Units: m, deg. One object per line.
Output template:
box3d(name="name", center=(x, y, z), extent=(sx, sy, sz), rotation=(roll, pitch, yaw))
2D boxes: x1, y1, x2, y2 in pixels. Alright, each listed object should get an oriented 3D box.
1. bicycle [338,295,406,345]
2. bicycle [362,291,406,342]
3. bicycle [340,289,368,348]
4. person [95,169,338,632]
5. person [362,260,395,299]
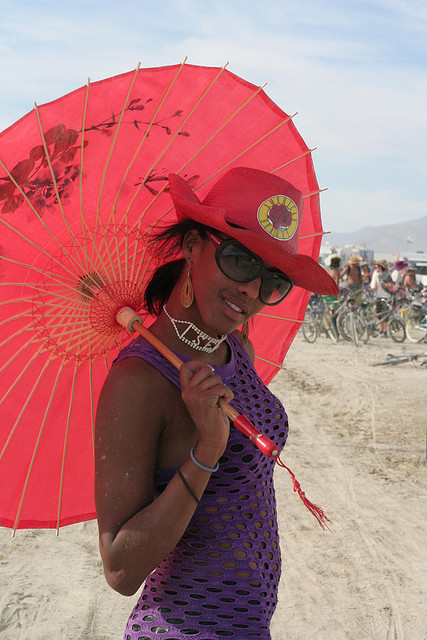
box3d(name="bicycle", center=(2.698, 0.066, 11.929), extent=(1.410, 0.742, 0.655), rotation=(-9, -3, 20))
box3d(name="bicycle", center=(3.185, 0.054, 11.981), extent=(0.602, 0.677, 1.181), rotation=(-10, 8, -39))
box3d(name="bicycle", center=(2.513, -0.061, 11.821), extent=(0.363, 0.976, 0.977), rotation=(0, 9, 11))
box3d(name="person", center=(0.015, 0.179, 1.614), extent=(0.532, 1.143, 0.798), rotation=(1, 10, 12))
box3d(name="person", center=(3.271, -0.756, 12.615), extent=(0.447, 0.779, 1.750), rotation=(1, 9, 13))
